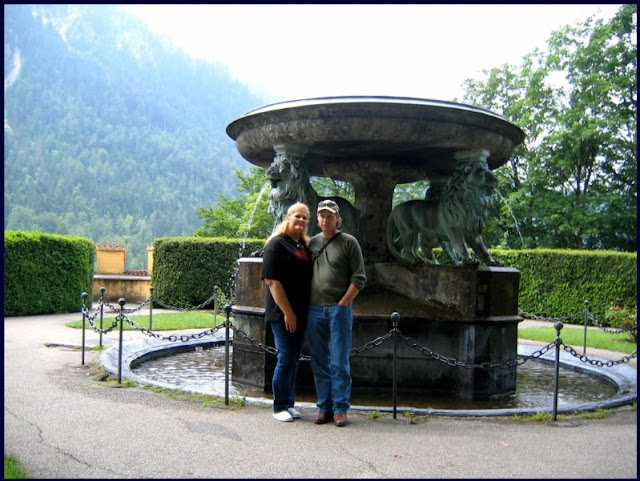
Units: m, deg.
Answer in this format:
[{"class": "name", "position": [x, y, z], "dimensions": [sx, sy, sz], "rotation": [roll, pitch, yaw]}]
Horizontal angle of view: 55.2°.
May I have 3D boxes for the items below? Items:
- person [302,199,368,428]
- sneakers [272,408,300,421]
[{"class": "person", "position": [0.172, 0.848, 7.289], "dimensions": [0.680, 2.684, 0.438], "rotation": [2, -6, 6]}, {"class": "sneakers", "position": [-0.398, 2.093, 7.332], "dimensions": [0.140, 0.111, 0.260], "rotation": [4, -12, -34]}]
